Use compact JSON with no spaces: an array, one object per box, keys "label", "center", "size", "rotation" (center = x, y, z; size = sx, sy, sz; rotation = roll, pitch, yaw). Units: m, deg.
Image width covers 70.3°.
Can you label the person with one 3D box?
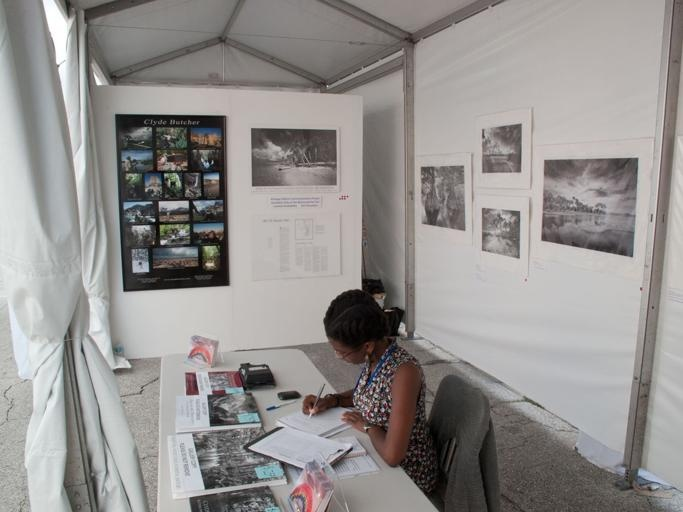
[{"label":"person","center":[0.139,0.885,2.431],"size":[0.634,1.422,0.619],"rotation":[4,11,14]}]

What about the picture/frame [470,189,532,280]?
[{"label":"picture/frame","center":[1.442,-0.190,4.320],"size":[0.035,0.860,0.744],"rotation":[-3,5,-24]}]

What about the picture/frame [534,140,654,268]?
[{"label":"picture/frame","center":[1.822,-0.367,3.446],"size":[0.013,0.845,0.812],"rotation":[-3,10,-26]}]

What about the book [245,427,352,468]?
[{"label":"book","center":[-0.187,0.824,2.084],"size":[0.230,0.043,0.175],"rotation":[16,19,31]}]

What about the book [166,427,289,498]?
[{"label":"book","center":[-0.489,0.837,2.013],"size":[0.428,0.035,0.452],"rotation":[-4,14,-23]}]

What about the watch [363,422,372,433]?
[{"label":"watch","center":[0.116,0.790,2.254],"size":[0.021,0.051,0.061],"rotation":[2,-16,12]}]

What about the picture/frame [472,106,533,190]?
[{"label":"picture/frame","center":[1.432,-0.940,4.261],"size":[0.029,0.780,0.713],"rotation":[-3,8,-25]}]
